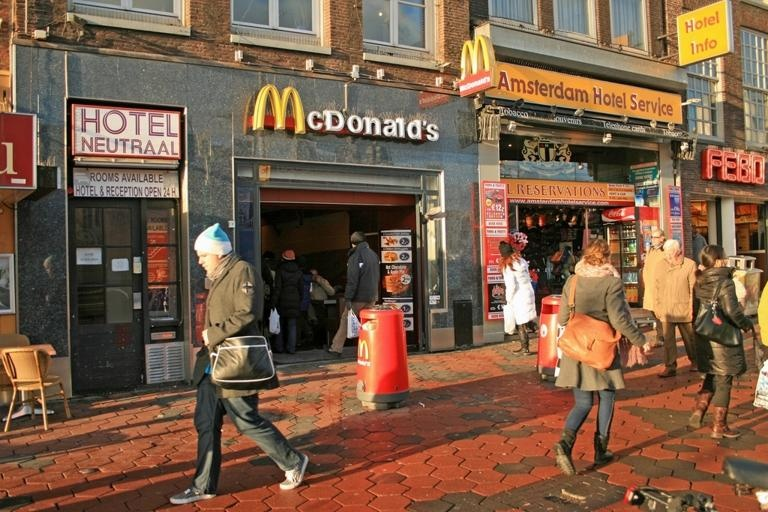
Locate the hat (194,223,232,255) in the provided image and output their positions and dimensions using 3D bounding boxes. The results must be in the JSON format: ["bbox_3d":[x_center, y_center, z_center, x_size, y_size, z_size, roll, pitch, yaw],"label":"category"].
[{"bbox_3d":[-2.078,-0.192,8.752,0.452,0.309,0.328,4,-1,-17],"label":"hat"}]

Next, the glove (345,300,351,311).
[{"bbox_3d":[-0.721,0.972,14.753,0.110,0.181,0.105,0,11,7],"label":"glove"}]

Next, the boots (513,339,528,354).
[{"bbox_3d":[2.782,1.873,14.887,0.332,0.297,0.163,6,5,29],"label":"boots"}]

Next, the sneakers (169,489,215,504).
[{"bbox_3d":[-2.235,2.770,8.499,0.483,0.160,0.185,4,-6,-17],"label":"sneakers"}]

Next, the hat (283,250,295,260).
[{"bbox_3d":[-2.056,-0.028,16.000,0.254,0.264,0.309,0,22,-15],"label":"hat"}]

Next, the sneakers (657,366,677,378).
[{"bbox_3d":[4.886,1.978,12.605,0.286,0.185,0.203,2,12,16],"label":"sneakers"}]

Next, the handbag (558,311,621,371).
[{"bbox_3d":[2.539,1.054,9.064,0.713,0.631,0.311,2,12,17],"label":"handbag"}]

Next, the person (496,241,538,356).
[{"bbox_3d":[2.687,0.885,14.712,0.630,2.319,0.829,-3,11,-5],"label":"person"}]

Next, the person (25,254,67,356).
[{"bbox_3d":[-5.758,0.854,12.391,0.750,1.692,0.365,-7,12,-23],"label":"person"}]

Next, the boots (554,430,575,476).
[{"bbox_3d":[2.189,2.379,8.856,0.235,0.499,0.250,1,12,12],"label":"boots"}]

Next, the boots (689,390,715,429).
[{"bbox_3d":[4.265,2.094,10.121,0.621,0.380,0.196,2,-7,-27],"label":"boots"}]

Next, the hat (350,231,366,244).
[{"bbox_3d":[-0.561,-0.367,14.941,0.247,0.200,0.280,6,13,24],"label":"hat"}]

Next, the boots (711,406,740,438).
[{"bbox_3d":[4.591,2.251,9.865,0.491,0.409,0.220,10,-7,-29],"label":"boots"}]

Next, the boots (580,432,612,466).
[{"bbox_3d":[2.759,2.406,9.193,0.220,0.355,0.396,0,-1,40],"label":"boots"}]

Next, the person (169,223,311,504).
[{"bbox_3d":[-1.817,1.246,8.603,1.388,3.046,0.792,-4,12,-12],"label":"person"}]
